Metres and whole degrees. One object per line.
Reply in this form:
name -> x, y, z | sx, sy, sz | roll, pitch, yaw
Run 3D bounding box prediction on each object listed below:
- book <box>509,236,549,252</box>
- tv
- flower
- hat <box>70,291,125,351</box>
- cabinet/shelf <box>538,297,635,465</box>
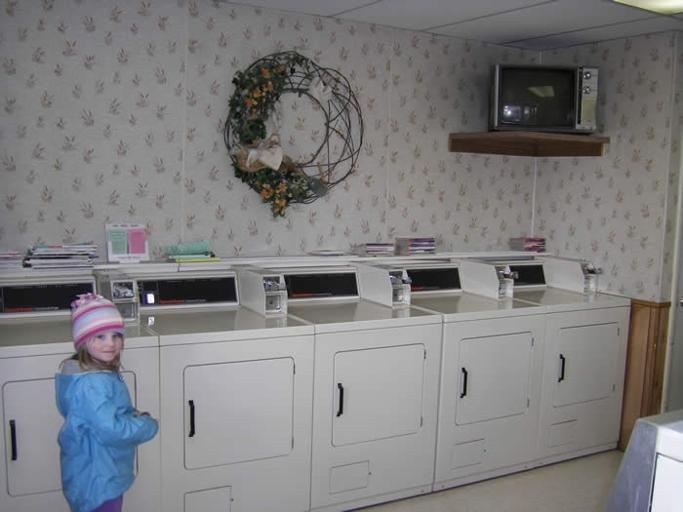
book -> 1.481, -0.080, 4.342 | 0.255, 0.120, 0.109 | -2, 7, 15
tv -> 1.413, -1.116, 3.898 | 0.715, 0.494, 0.472 | 2, 8, -1
flower -> -0.610, -0.862, 3.597 | 0.219, 0.946, 0.733 | 14, -2, 44
hat -> -1.032, 0.254, 2.241 | 0.215, 0.221, 0.173 | -27, -13, 24
cabinet/shelf -> 1.549, 0.853, 4.010 | 0.818, 1.065, 0.805 | 0, 9, -7
